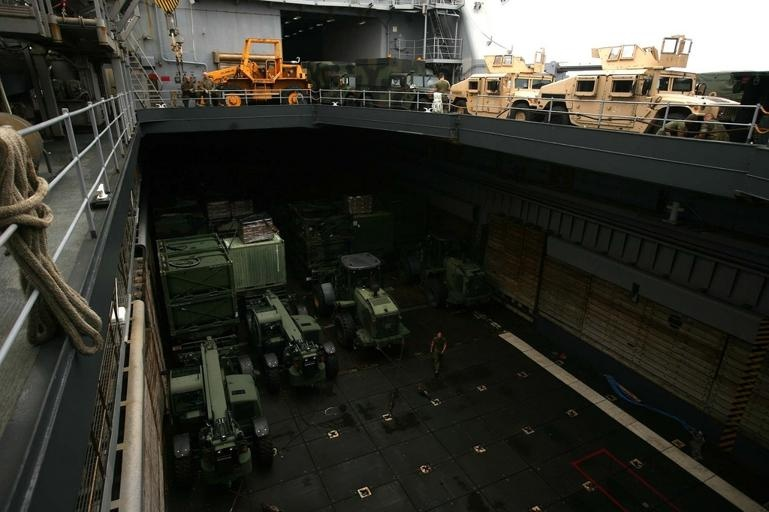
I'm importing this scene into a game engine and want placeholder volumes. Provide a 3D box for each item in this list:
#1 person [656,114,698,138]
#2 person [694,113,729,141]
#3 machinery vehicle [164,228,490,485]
[{"bbox_3d":[8.652,-3.772,14.061,1.186,0.479,1.221,5,23,28],"label":"person"},{"bbox_3d":[9.288,-3.661,13.644,0.896,0.423,1.189,4,31,16],"label":"person"},{"bbox_3d":[-5.238,3.145,18.663,5.846,4.899,10.258,-6,23,-20],"label":"machinery vehicle"}]
